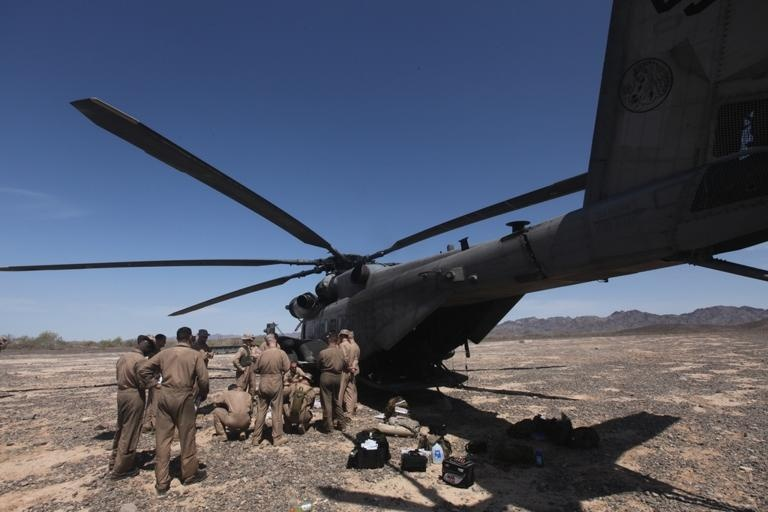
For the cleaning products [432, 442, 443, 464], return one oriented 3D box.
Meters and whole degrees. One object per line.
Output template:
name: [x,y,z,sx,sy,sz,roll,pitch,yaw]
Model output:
cleaning products: [1.030,3.864,7.606,0.178,0.334,0.160,4,-9,-43]
